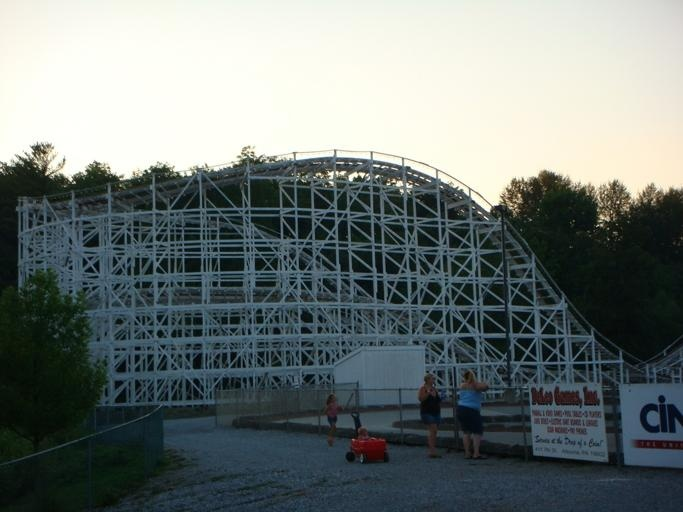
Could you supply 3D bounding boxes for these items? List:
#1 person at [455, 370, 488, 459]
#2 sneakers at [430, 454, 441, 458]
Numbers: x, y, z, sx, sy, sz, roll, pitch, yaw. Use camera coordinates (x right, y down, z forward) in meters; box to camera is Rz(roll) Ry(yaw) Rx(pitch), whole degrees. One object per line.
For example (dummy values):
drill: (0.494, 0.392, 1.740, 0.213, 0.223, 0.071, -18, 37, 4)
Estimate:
person: (3.228, 3.923, 23.226, 0.714, 2.160, 1.245, -3, -10, 7)
sneakers: (2.351, 5.007, 23.549, 0.279, 0.073, 0.096, -4, -5, 11)
